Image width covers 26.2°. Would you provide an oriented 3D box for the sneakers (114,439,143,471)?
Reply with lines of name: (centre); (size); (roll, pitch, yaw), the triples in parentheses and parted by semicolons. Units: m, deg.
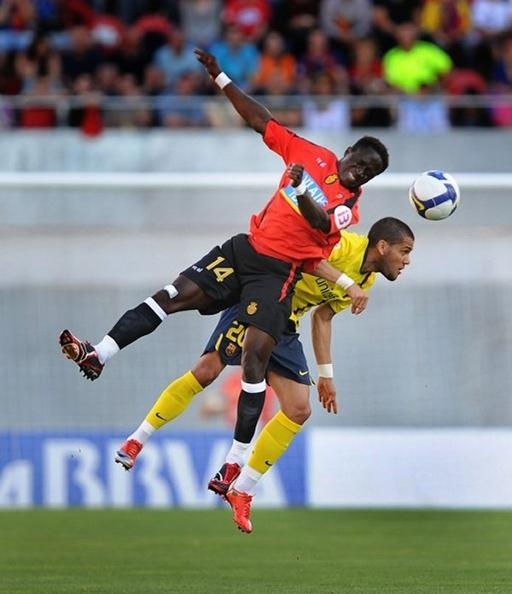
sneakers: (-0.712, 0.887, 6.277); (0.113, 0.242, 0.086); (-39, 90, 4)
